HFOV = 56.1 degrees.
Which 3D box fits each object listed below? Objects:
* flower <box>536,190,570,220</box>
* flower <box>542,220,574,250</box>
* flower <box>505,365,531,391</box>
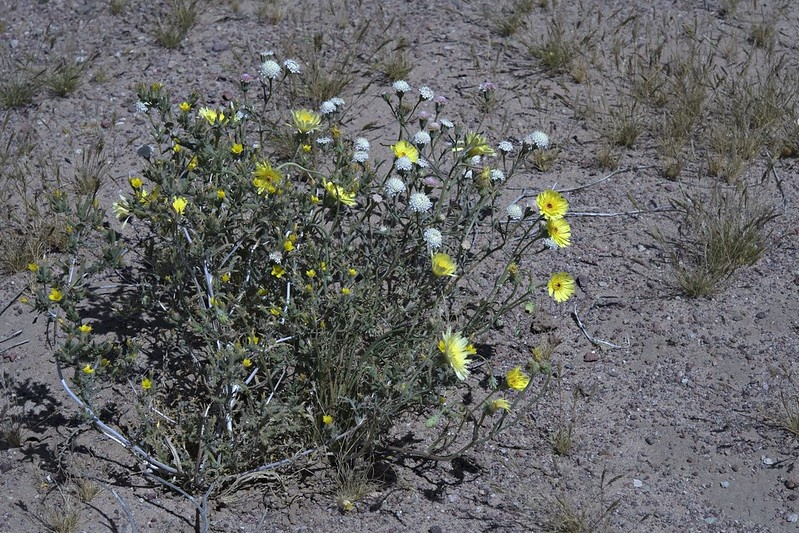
[{"bbox_3d":[0.962,-0.379,4.781,0.185,0.080,0.202,38,82,-6],"label":"flower"},{"bbox_3d":[0.989,-0.205,4.777,0.179,0.070,0.184,-38,104,-43],"label":"flower"},{"bbox_3d":[0.711,0.658,4.505,0.150,0.097,0.150,-12,98,-14],"label":"flower"}]
